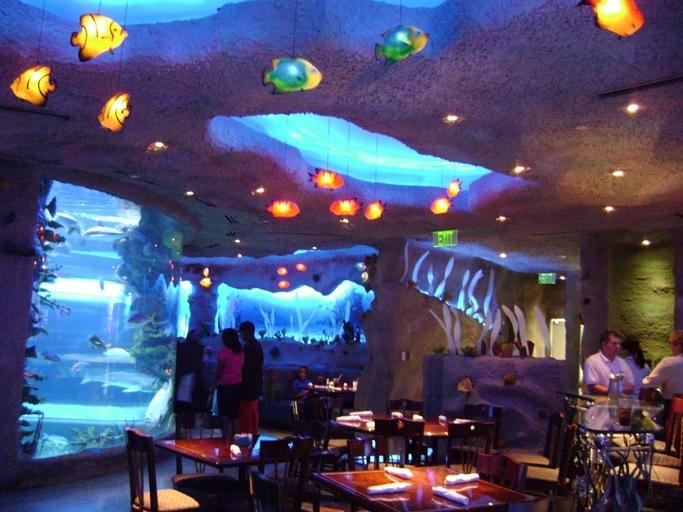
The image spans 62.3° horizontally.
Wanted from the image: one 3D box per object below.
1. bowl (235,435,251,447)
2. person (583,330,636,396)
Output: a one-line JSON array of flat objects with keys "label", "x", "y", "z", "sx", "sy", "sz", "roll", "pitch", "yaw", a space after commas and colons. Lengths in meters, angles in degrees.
[{"label": "bowl", "x": -0.966, "y": 1.794, "z": 5.517, "sx": 0.122, "sy": 0.055, "sz": 0.121, "roll": 2, "pitch": -11, "yaw": 0}, {"label": "person", "x": 2.909, "y": 1.193, "z": 6.094, "sx": 0.544, "sy": 0.708, "sz": 0.455, "roll": 3, "pitch": -7, "yaw": 8}]
